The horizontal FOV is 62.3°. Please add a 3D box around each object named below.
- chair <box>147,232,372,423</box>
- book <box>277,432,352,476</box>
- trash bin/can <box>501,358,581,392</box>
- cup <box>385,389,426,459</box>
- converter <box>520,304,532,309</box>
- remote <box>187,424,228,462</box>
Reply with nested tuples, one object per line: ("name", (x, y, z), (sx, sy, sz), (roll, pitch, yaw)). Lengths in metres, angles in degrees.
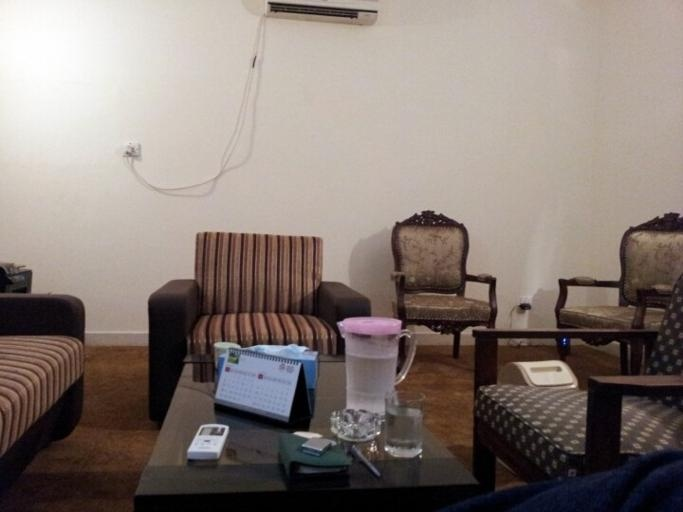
("chair", (-0.437, 0.196, 3.469), (1.362, 1.331, 0.999), (2, -9, -8))
("book", (-0.083, 0.626, 1.774), (0.227, 0.085, 0.119), (1, 8, -3))
("trash bin/can", (0.987, 0.585, 2.838), (0.183, 0.126, 0.190), (2, -2, -16))
("cup", (0.201, 0.547, 1.820), (0.122, 0.217, 0.207), (1, -3, 1))
("converter", (1.547, 0.421, 4.738), (0.055, 0.030, 0.057), (1, -1, 1))
("remote", (-0.435, 0.614, 1.852), (0.096, 0.045, 0.190), (1, 6, -1))
